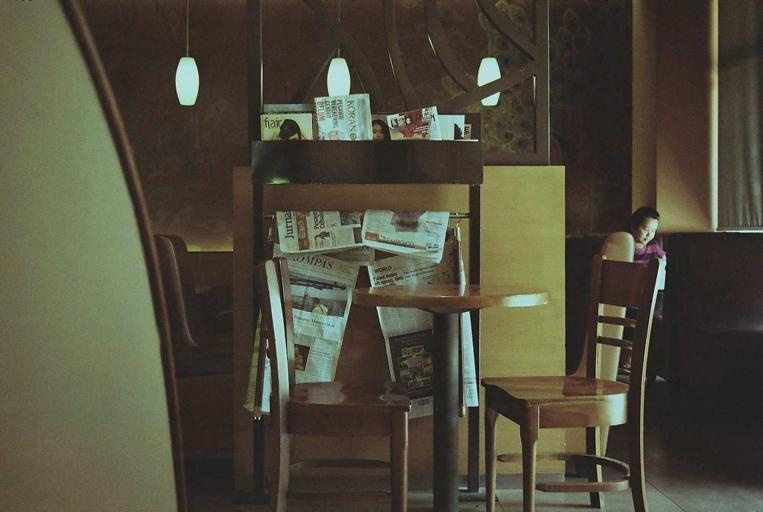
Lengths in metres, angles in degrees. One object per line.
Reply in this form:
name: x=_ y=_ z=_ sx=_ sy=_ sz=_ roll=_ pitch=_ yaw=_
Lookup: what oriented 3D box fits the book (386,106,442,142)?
book: x=0.213 y=-0.874 z=5.944 sx=0.319 sy=0.221 sz=0.012 roll=-5 pitch=-16 yaw=6
